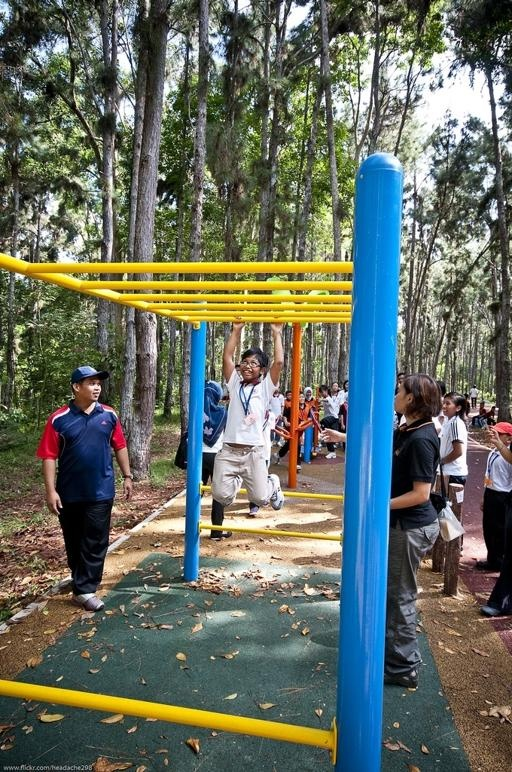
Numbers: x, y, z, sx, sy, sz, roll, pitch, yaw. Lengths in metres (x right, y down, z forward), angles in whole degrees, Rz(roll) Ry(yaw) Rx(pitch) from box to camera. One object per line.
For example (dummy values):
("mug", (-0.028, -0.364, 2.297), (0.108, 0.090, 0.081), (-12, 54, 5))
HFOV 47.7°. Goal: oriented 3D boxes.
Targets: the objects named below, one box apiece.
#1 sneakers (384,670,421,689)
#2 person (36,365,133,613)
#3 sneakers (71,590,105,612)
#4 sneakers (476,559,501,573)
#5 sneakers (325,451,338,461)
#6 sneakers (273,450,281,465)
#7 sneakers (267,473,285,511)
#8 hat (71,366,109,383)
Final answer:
("sneakers", (0.830, 1.668, 3.330), (0.220, 0.111, 0.083), (4, -16, 17))
("person", (-1.217, 0.715, 4.133), (0.677, 1.578, 0.392), (4, 1, -35))
("sneakers", (-1.189, 1.485, 4.107), (0.259, 0.124, 0.096), (12, 12, 33))
("sneakers", (2.219, 1.730, 5.542), (0.225, 0.161, 0.077), (-7, -6, 29))
("sneakers", (1.747, 1.641, 13.433), (0.304, 0.123, 0.148), (-13, 25, -16))
("sneakers", (0.442, 1.550, 12.380), (0.166, 0.236, 0.525), (2, -11, -3))
("sneakers", (0.146, 0.930, 4.812), (0.119, 0.386, 0.159), (4, 30, 21))
("hat", (-1.189, -0.071, 4.181), (0.195, 0.113, 0.352), (5, 0, 12))
